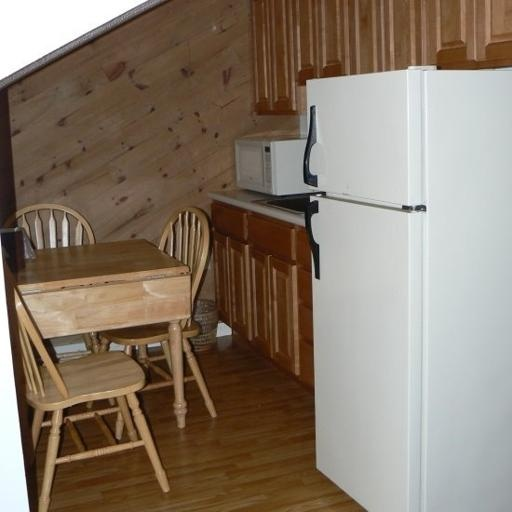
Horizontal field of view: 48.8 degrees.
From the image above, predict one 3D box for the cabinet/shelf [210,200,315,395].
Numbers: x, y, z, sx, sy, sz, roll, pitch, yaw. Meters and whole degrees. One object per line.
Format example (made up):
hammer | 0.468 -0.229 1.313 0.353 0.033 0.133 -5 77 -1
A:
cabinet/shelf | 0.042 0.238 3.125 0.483 0.686 0.970 -3 11 -16
